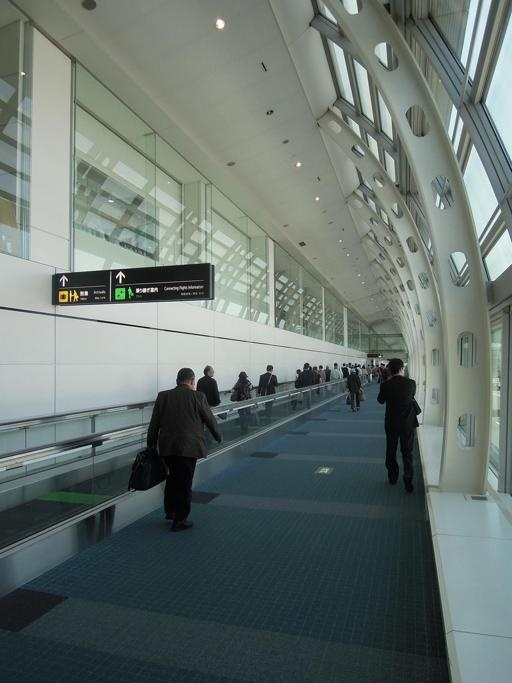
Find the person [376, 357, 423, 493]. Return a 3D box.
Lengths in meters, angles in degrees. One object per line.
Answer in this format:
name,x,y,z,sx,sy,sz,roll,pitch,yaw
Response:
person,1.962,1.105,5.873,0.517,1.739,0.634,-2,-6,20

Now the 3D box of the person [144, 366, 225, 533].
person,-0.753,1.074,4.397,0.727,1.596,0.387,0,-6,-1

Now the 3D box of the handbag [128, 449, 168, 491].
handbag,-1.096,1.287,4.300,0.220,0.420,0.480,0,-7,14
